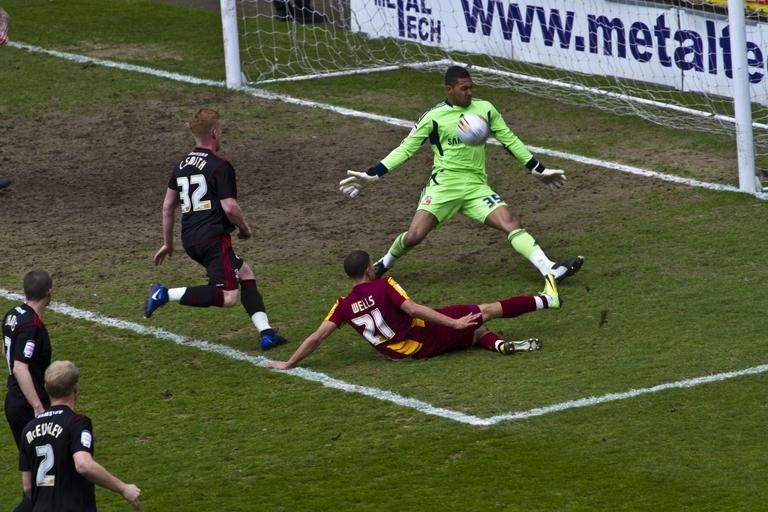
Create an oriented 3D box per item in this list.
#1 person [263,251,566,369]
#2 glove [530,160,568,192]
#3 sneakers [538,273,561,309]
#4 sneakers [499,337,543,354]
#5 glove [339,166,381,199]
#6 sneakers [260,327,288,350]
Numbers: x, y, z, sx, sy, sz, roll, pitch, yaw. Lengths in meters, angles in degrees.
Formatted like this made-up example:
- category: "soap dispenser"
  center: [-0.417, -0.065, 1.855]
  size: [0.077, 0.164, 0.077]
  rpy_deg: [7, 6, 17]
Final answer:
- category: "person"
  center: [0.325, 0.539, 12.244]
  size: [2.659, 1.159, 0.512]
  rpy_deg: [1, 21, -11]
- category: "glove"
  center: [1.743, -0.838, 13.698]
  size: [0.432, 0.275, 0.148]
  rpy_deg: [35, 26, -20]
- category: "sneakers"
  center: [1.631, 0.341, 12.802]
  size: [0.249, 0.146, 0.378]
  rpy_deg: [-9, 50, -7]
- category: "sneakers"
  center: [1.281, 0.831, 12.341]
  size: [0.496, 0.105, 0.172]
  rpy_deg: [-3, 10, -1]
- category: "glove"
  center: [-0.233, -0.785, 14.453]
  size: [0.592, 0.242, 0.165]
  rpy_deg: [-18, 10, 22]
- category: "sneakers"
  center: [-1.052, 0.799, 12.642]
  size: [0.144, 0.125, 0.361]
  rpy_deg: [3, 11, 37]
